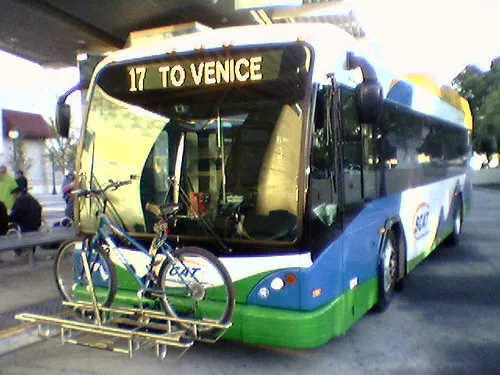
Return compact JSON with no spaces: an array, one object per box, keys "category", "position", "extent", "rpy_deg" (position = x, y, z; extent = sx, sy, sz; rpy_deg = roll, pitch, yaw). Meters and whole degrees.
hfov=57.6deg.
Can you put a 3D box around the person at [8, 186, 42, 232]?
[{"category":"person","position":[-5.876,0.577,11.843],"extent":[0.657,1.321,0.669],"rpy_deg":[18,22,37]}]

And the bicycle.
[{"category":"bicycle","position":[-1.367,0.852,5.410],"extent":[2.326,1.702,0.840],"rpy_deg":[2,12,14]}]
